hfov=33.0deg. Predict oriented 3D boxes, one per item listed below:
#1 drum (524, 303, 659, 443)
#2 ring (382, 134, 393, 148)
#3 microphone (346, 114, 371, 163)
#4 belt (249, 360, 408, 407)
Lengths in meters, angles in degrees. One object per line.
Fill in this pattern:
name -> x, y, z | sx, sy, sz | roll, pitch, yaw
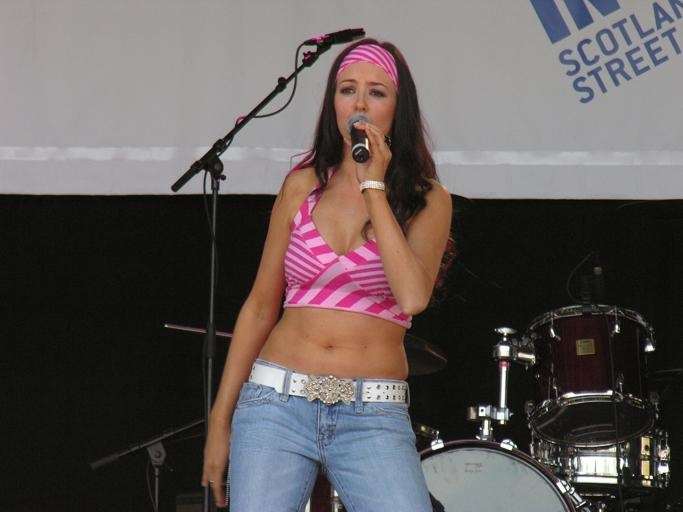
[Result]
drum -> 1.447, 0.606, 6.683 | 0.659, 0.540, 0.667 | 2, -10, -28
ring -> 0.207, -0.521, 5.249 | 0.024, 0.060, 0.045 | -19, 5, 0
microphone -> 0.073, -0.528, 5.116 | 0.103, 0.318, 0.112 | 14, -49, -17
belt -> -0.066, 0.551, 5.021 | 0.701, 0.224, 0.124 | -3, -8, 1
